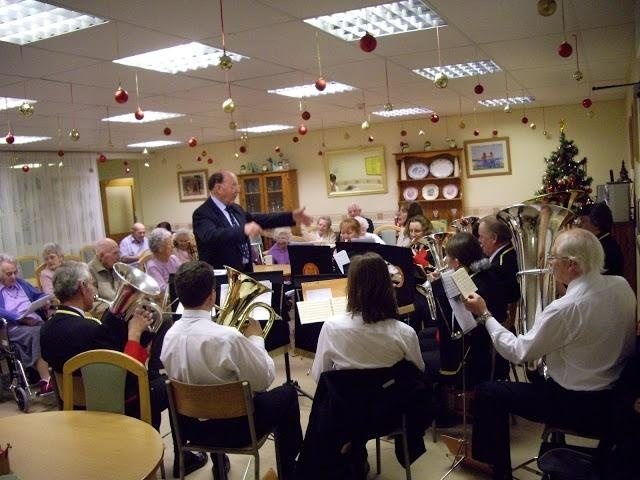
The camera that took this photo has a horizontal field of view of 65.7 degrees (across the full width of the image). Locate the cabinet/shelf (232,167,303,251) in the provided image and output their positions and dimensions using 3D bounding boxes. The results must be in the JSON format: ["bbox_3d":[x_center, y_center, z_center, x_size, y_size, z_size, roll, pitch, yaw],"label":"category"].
[{"bbox_3d":[-1.124,-0.637,11.027,1.248,1.853,0.485,4,5,34],"label":"cabinet/shelf"}]

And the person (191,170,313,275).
[{"bbox_3d":[-0.592,-0.118,3.957,0.551,0.870,0.970,9,7,44],"label":"person"}]

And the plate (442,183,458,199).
[{"bbox_3d":[2.561,-0.951,9.742,0.307,0.287,0.090,-3,4,13],"label":"plate"}]

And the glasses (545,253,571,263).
[{"bbox_3d":[1.365,0.106,2.864,0.057,0.050,0.181,-5,4,-15],"label":"glasses"}]

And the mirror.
[{"bbox_3d":[0.746,-1.430,10.461,1.327,0.985,0.171,-2,4,24],"label":"mirror"}]

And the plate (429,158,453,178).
[{"bbox_3d":[2.390,-1.409,9.730,0.351,0.403,0.064,0,-9,18],"label":"plate"}]

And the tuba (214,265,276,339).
[{"bbox_3d":[-0.468,0.372,3.269,0.346,0.522,0.284,27,-1,-6],"label":"tuba"}]

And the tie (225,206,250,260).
[{"bbox_3d":[-0.644,-0.053,4.195,0.136,0.404,0.268,-13,21,-40],"label":"tie"}]

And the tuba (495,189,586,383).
[{"bbox_3d":[1.540,0.371,3.536,0.501,1.373,0.984,-1,5,28],"label":"tuba"}]
